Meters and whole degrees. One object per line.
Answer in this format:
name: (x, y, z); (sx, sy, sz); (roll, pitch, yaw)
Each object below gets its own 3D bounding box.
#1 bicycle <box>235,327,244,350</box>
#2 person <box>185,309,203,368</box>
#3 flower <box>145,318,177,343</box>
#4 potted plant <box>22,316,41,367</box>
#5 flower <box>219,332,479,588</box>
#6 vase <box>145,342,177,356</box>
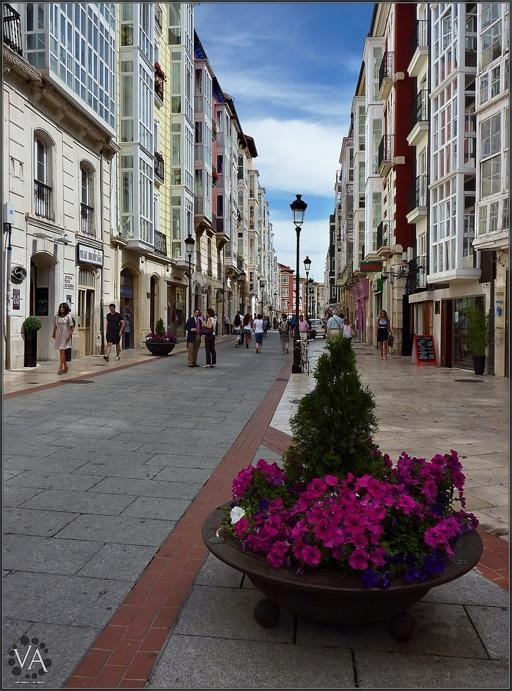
bicycle: (-0.991, 0.276, 31.014); (0.446, 0.750, 1.048); (-1, -3, 2)
person: (-2.159, 0.133, 18.002); (0.515, 1.808, 2.075); (0, 0, -8)
flower: (-4.798, -0.172, 25.822); (0.972, 1.566, 1.033); (2, -1, 27)
potted plant: (-6.563, 0.232, 15.175); (0.408, 1.422, 0.563); (0, 0, -35)
flower: (0.489, 0.666, 2.646); (1.166, 1.334, 1.041); (-18, -20, 29)
vase: (-3.949, 0.587, 21.643); (1.072, 0.607, 0.680); (0, 0, 19)
